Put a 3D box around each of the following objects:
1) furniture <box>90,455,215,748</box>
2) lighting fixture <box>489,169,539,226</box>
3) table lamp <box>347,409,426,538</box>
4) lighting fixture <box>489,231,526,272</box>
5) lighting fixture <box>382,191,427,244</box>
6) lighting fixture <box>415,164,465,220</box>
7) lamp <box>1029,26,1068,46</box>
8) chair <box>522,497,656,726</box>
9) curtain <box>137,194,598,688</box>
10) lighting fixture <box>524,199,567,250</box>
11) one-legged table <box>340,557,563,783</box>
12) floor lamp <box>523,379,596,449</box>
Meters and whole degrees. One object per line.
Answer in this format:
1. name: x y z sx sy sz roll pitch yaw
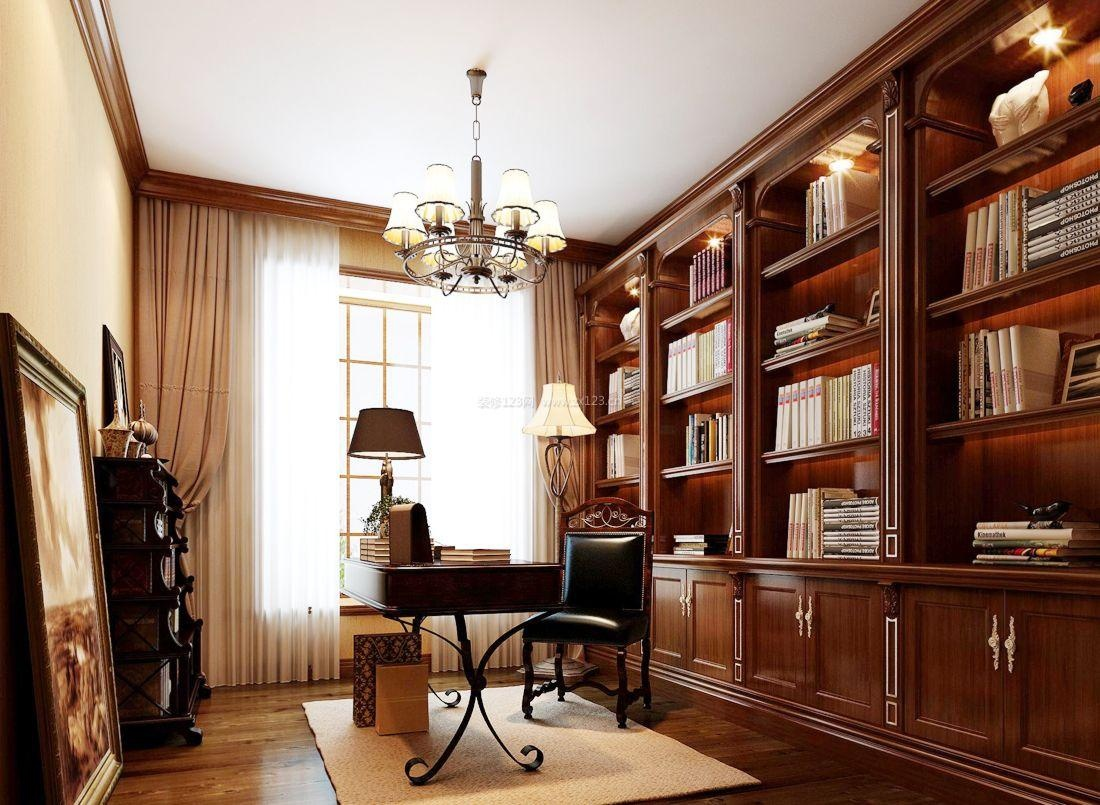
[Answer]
1. furniture: -2.175 1.117 4.672 0.498 1.453 1.460 -1 -6 -23
2. lighting fixture: -0.176 -1.074 4.641 0.245 0.356 0.248 6 -8 -21
3. table lamp: -0.944 0.408 4.980 0.439 0.693 0.450 -2 12 -33
4. lighting fixture: -0.216 -0.852 4.667 0.184 0.229 0.218 -5 -11 -2
5. lighting fixture: -0.808 -1.026 4.840 0.289 0.322 0.273 0 -2 -15
6. lighting fixture: -0.607 -1.130 4.624 0.283 0.320 0.281 0 2 11
7. lamp: 2.423 -1.785 4.150 0.148 0.037 0.130 3 -6 -33
8. chair: 0.251 1.212 5.132 0.860 1.288 0.885 3 -8 -20
9. curtain: -1.364 0.311 6.008 3.276 3.341 0.174 4 -6 -37
10. lighting fixture: 0.003 -1.039 4.868 0.165 0.204 0.180 -1 6 -30
11. one-legged table: -0.465 1.314 4.432 1.118 1.018 1.040 1 -4 -13
12. floor lamp: 0.082 0.060 6.362 0.514 0.535 0.537 3 -9 -18
